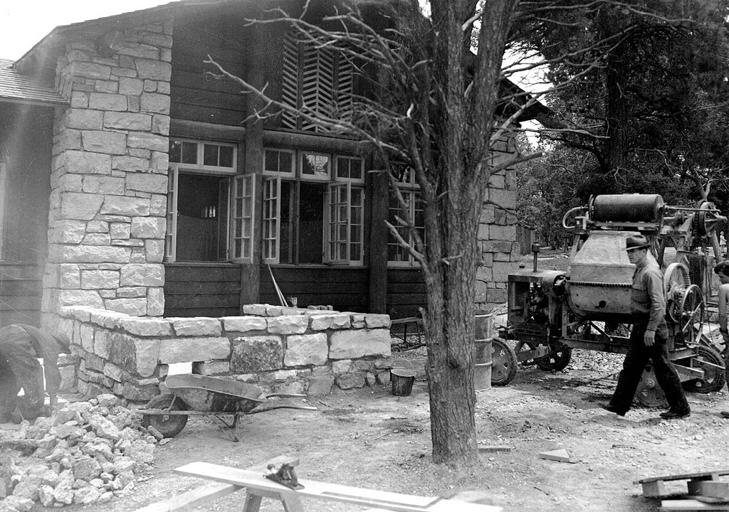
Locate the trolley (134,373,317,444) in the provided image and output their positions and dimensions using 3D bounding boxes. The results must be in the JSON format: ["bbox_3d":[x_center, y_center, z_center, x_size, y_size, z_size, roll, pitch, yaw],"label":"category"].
[{"bbox_3d":[-1.511,1.836,7.797,2.472,0.800,0.812,7,-2,-19],"label":"trolley"}]

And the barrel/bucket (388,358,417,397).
[{"bbox_3d":[0.591,1.874,9.439,0.393,0.295,0.371,3,-2,0],"label":"barrel/bucket"}]

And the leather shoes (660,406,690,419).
[{"bbox_3d":[4.159,2.096,8.486,0.411,0.191,0.162,2,-1,-5],"label":"leather shoes"}]

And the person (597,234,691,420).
[{"bbox_3d":[3.776,0.975,8.496,0.965,2.448,0.474,-3,-4,25],"label":"person"}]

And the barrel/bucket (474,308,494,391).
[{"bbox_3d":[1.783,1.438,9.476,0.275,1.190,0.684,-2,-4,10],"label":"barrel/bucket"}]
